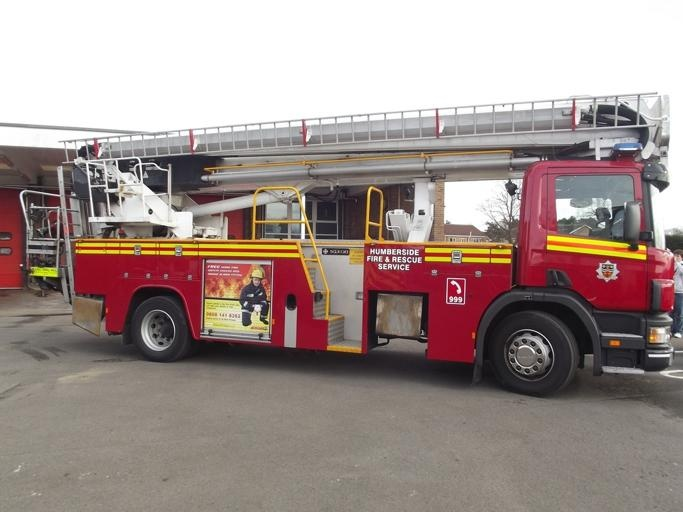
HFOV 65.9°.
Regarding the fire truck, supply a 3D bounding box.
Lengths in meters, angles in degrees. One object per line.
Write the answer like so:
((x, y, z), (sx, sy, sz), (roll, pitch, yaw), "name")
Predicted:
((-1.147, -0.091, 11.211), (13.343, 5.844, 4.482), (-1, 0, 20), "fire truck")
